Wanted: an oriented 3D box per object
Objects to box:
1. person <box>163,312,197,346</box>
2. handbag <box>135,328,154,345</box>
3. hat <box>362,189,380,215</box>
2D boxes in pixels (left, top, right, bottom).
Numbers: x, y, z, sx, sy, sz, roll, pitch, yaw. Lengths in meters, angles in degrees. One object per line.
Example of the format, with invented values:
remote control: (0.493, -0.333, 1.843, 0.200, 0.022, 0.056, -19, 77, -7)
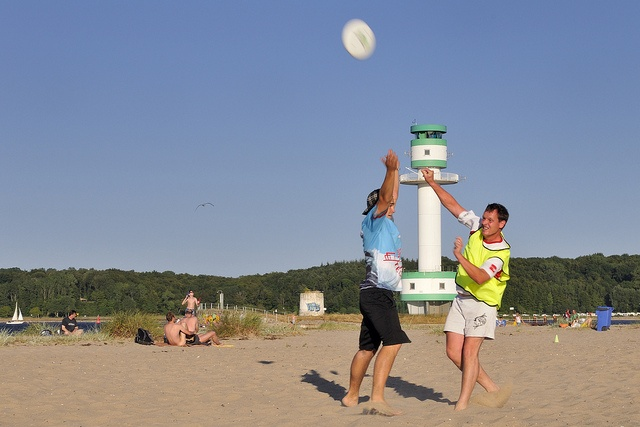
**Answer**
person: (-4.370, 3.461, 23.691, 0.759, 1.153, 0.882, 0, 10, 28)
handbag: (-5.510, 3.816, 23.990, 0.554, 0.467, 0.443, -4, -9, 18)
hat: (1.014, -0.192, 14.046, 0.320, 0.412, 0.353, -5, -10, -23)
